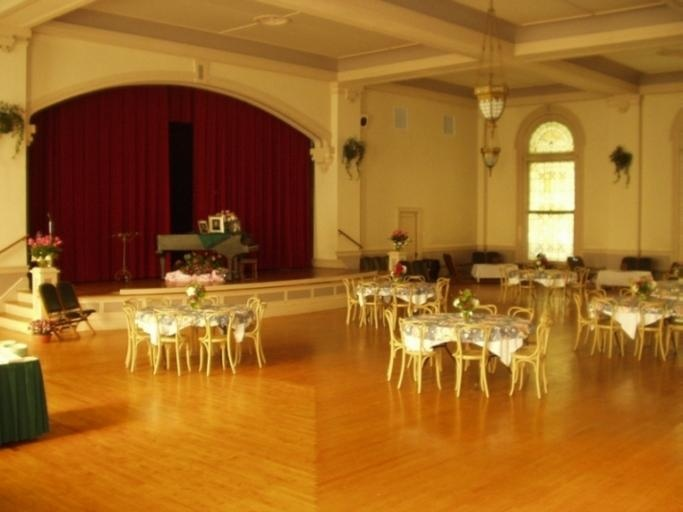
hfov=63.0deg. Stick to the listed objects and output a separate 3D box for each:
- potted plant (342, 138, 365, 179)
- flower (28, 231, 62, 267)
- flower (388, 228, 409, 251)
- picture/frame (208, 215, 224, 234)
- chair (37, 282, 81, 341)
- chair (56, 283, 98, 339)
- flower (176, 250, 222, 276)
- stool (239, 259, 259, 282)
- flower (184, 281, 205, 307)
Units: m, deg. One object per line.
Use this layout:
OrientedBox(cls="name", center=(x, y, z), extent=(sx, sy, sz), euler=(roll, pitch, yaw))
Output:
OrientedBox(cls="potted plant", center=(0.274, -2.848, 16.365), extent=(0.792, 1.087, 0.336), euler=(-9, 23, -42))
OrientedBox(cls="flower", center=(-5.893, -0.129, 10.945), extent=(0.624, 0.746, 0.725), euler=(-2, -2, 11))
OrientedBox(cls="flower", center=(1.488, -0.370, 14.244), extent=(0.343, 0.524, 0.797), euler=(-1, 1, 10))
OrientedBox(cls="picture/frame", center=(-2.805, -0.677, 12.398), extent=(0.359, 0.415, 0.044), euler=(4, 8, 20))
OrientedBox(cls="chair", center=(-5.270, 1.015, 10.295), extent=(0.566, 1.023, 0.399), euler=(-2, 2, -34))
OrientedBox(cls="chair", center=(-5.095, 0.916, 10.474), extent=(0.768, 1.148, 0.674), euler=(6, 8, 30))
OrientedBox(cls="flower", center=(-3.210, 0.189, 12.427), extent=(0.945, 0.435, 0.659), euler=(-2, 1, -20))
OrientedBox(cls="stool", center=(-2.320, 0.372, 14.002), extent=(0.575, 0.694, 0.602), euler=(0, 0, 36))
OrientedBox(cls="flower", center=(-2.193, 0.585, 8.562), extent=(0.349, 0.421, 0.370), euler=(-3, -3, 43))
